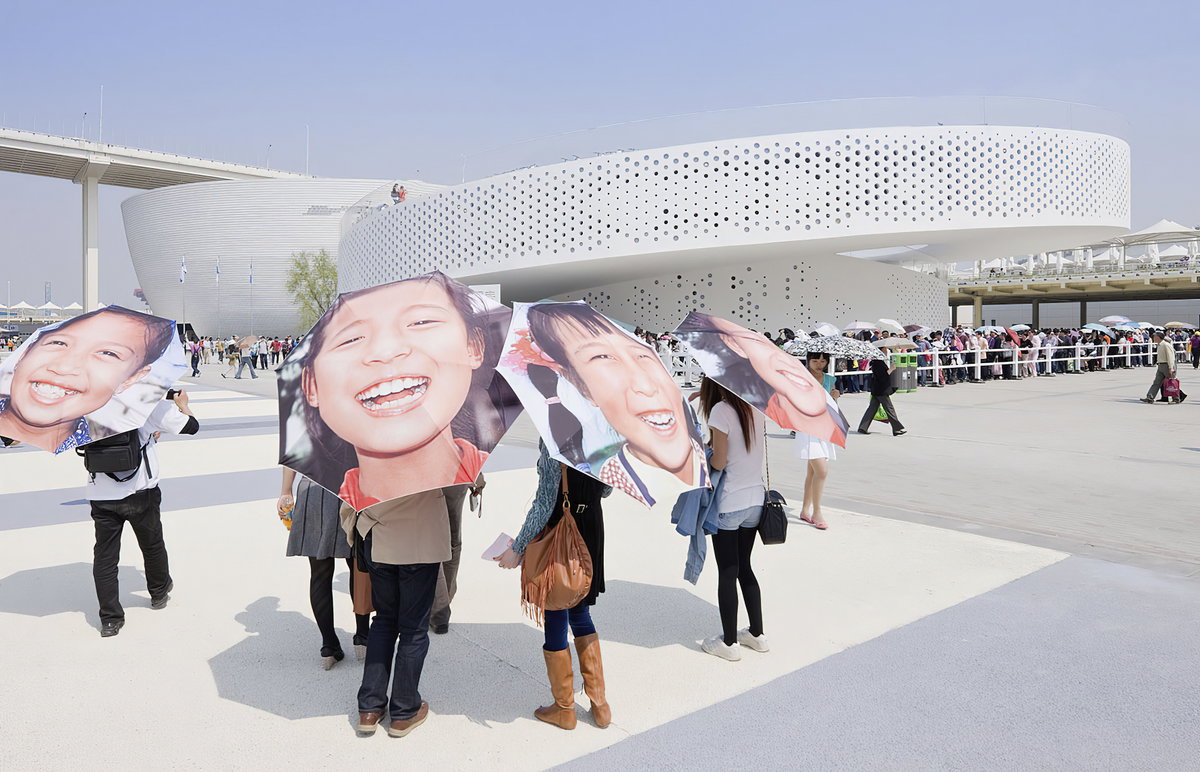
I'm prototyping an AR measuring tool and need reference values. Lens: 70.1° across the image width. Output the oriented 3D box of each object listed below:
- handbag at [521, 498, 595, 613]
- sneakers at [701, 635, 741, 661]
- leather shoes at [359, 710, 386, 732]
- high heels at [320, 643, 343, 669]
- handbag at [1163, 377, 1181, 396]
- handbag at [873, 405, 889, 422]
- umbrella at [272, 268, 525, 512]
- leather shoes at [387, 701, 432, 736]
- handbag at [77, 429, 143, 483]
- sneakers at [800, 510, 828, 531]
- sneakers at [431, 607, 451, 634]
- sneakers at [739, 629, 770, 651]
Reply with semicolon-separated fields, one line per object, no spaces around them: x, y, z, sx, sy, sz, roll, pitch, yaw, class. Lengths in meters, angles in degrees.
-0.286;1.212;5.692;0.475;0.833;0.216;0;14;0;handbag
0.912;1.994;6.449;0.278;0.122;0.128;7;6;39;sneakers
-1.524;2.228;5.686;0.081;0.095;0.211;0;0;-2;leather shoes
-1.988;2.011;6.322;0.078;0.101;0.222;0;4;-2;high heels
12.354;0.019;18.524;0.341;0.487;0.192;1;-4;-6;handbag
4.814;0.459;14.678;0.143;0.121;0.228;-31;19;1;handbag
-1.253;0.098;5.669;1.371;1.474;0.878;-27;-12;-4;umbrella
-1.268;2.237;5.715;0.109;0.130;0.310;5;7;17;leather shoes
-3.823;0.545;6.691;0.447;0.476;0.344;0;9;-23;handbag
2.256;1.451;9.064;0.102;0.142;0.317;-4;-1;-21;sneakers
-1.254;1.861;6.724;0.083;0.193;0.261;2;2;-12;sneakers
1.168;1.964;6.513;0.098;0.109;0.262;-4;6;-32;sneakers
